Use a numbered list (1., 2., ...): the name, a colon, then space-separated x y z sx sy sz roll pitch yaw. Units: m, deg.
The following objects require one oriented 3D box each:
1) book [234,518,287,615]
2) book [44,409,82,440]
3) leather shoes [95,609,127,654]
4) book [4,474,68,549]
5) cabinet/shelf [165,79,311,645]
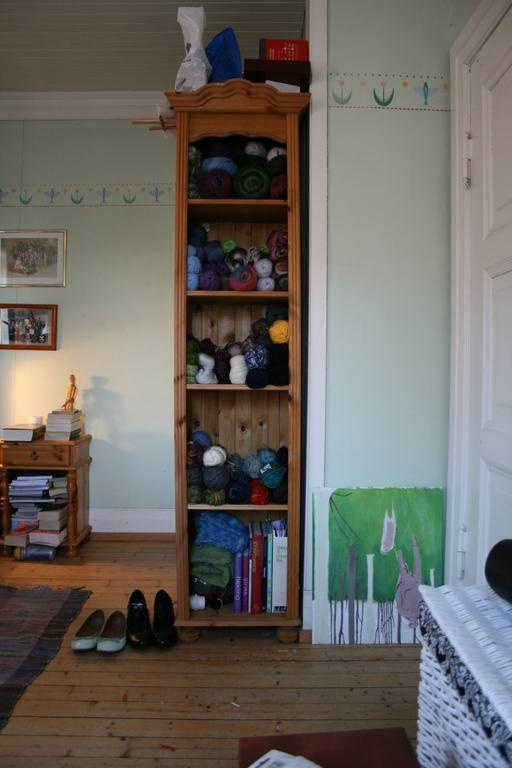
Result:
1. book: -0.049 0.741 2.760 0.306 0.433 0.326 1 2 -6
2. book: -1.114 0.188 3.682 0.143 0.174 0.251 0 0 2
3. leather shoes: -0.580 0.994 2.558 0.077 0.063 0.219 0 -2 -6
4. book: -1.210 0.697 3.472 0.315 0.143 0.415 1 5 1
5. cabinet/shelf: -0.071 -0.066 2.631 0.543 2.163 0.494 -1 5 -5
